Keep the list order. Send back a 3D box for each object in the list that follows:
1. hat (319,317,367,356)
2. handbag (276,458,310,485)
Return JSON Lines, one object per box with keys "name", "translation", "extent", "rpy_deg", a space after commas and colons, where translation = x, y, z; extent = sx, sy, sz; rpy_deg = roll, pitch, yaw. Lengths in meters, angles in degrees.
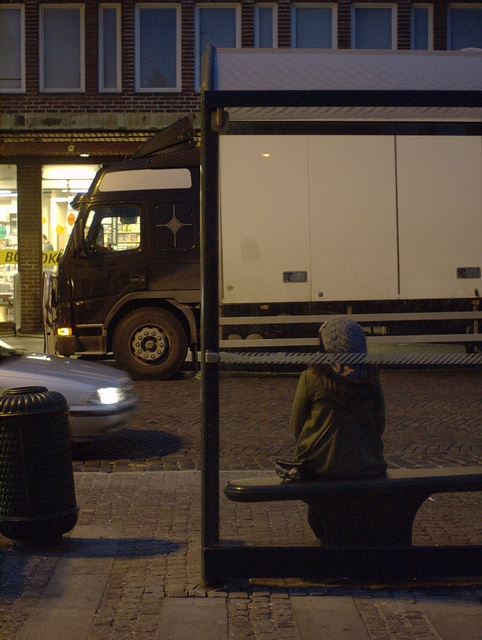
{"name": "hat", "translation": [0.551, 0.066, 6.040], "extent": [0.146, 0.222, 0.232], "rpy_deg": [-1, 44, -17]}
{"name": "handbag", "translation": [0.270, 0.794, 6.013], "extent": [0.118, 0.111, 0.059], "rpy_deg": [2, 18, 21]}
